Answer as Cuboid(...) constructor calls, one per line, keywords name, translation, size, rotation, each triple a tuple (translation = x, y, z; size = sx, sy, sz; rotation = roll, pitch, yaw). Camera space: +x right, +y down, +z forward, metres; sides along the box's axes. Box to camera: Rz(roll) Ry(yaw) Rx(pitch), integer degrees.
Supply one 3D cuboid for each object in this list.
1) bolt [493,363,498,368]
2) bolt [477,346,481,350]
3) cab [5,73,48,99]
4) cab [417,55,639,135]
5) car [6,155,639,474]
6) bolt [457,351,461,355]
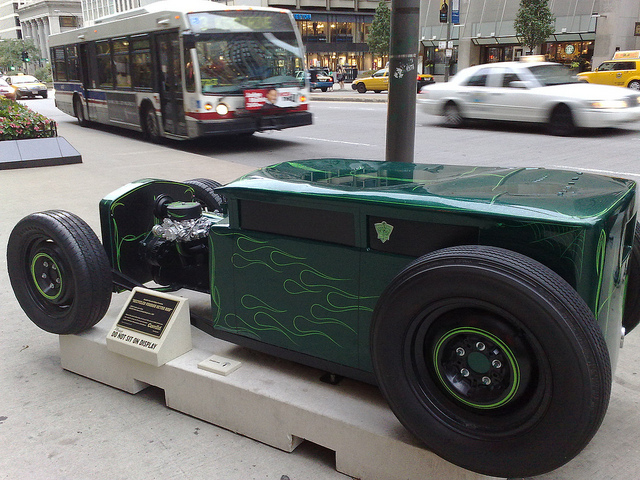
Cuboid(name="bolt", translation=(0.749, 0.539, 2.019), size=(0.018, 0.019, 0.003), rotation=(15, 28, 36))
Cuboid(name="bolt", translation=(0.686, 0.466, 2.036), size=(0.013, 0.018, 0.002), rotation=(8, 24, 22))
Cuboid(name="cab", translation=(-23.270, -12.232, 37.571), size=(2.321, 1.773, 2.894), rotation=(-14, 24, -29))
Cuboid(name="cab", translation=(6.246, -4.579, 14.667), size=(2.777, 2.012, 6.067), rotation=(-21, 27, -40))
Cuboid(name="car", translation=(-0.066, 0.465, 2.581), size=(2.767, 0.887, 1.474), rotation=(9, 18, 30))
Cuboid(name="bolt", translation=(0.612, 0.498, 2.079), size=(0.013, 0.017, 0.003), rotation=(-2, 22, -2))
